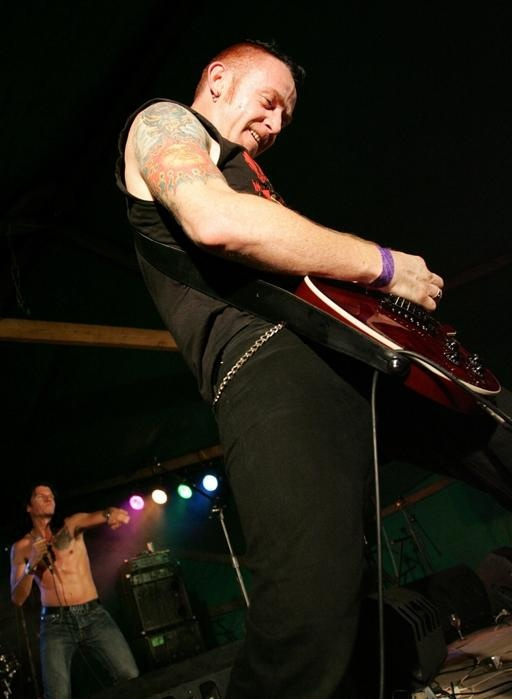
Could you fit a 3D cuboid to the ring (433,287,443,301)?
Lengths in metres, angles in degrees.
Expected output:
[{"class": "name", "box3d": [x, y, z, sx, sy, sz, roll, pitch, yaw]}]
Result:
[{"class": "ring", "box3d": [0.603, -0.189, 2.080, 0.039, 0.011, 0.039, -50, -27, -37]}]

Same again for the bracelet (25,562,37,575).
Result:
[{"class": "bracelet", "box3d": [-2.026, 1.952, 5.531, 0.112, 0.134, 0.039, 1, 8, -21]}]

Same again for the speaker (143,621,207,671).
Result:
[{"class": "speaker", "box3d": [-0.872, 3.076, 6.452, 0.579, 0.341, 0.292, -4, -25, -23]}]

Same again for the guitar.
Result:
[{"class": "guitar", "box3d": [0.472, -0.039, 1.948, 0.150, 0.603, 0.407, -55, 5, 0]}]
